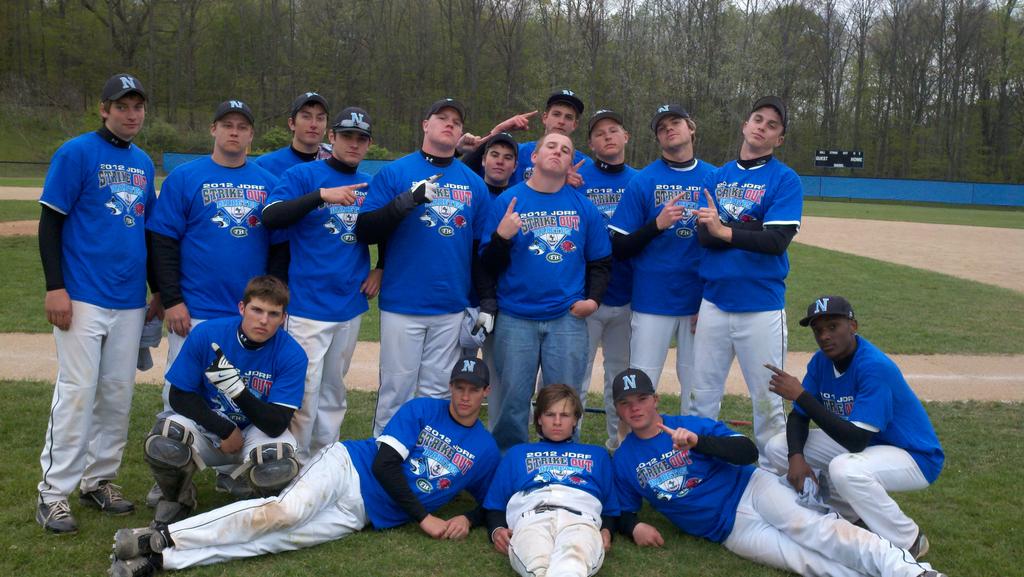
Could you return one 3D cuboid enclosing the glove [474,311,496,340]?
[{"bbox_3d":[-0.447,0.617,16.474,0.360,0.436,0.202,22,12,0],"label":"glove"}]

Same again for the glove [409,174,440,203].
[{"bbox_3d":[-1.482,-1.714,16.279,0.403,0.461,0.465,2,7,4],"label":"glove"}]

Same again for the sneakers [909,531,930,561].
[{"bbox_3d":[6.688,4.191,15.474,0.210,0.257,0.572,-33,12,41],"label":"sneakers"}]
